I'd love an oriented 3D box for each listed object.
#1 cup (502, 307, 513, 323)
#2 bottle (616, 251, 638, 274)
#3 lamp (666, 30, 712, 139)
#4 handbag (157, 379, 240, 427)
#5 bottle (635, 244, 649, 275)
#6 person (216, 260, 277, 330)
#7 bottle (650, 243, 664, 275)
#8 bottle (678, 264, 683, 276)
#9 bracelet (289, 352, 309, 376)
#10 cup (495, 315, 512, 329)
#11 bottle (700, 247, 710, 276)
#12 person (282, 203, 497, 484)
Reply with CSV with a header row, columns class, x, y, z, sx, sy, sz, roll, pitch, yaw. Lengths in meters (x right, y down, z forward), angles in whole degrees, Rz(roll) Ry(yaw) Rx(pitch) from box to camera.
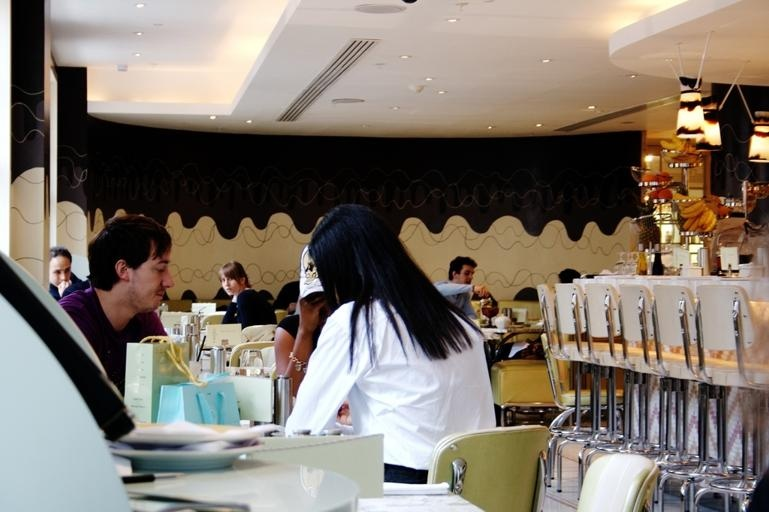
class,x,y,z,sx,sy,sz,roll,pitch,yaw
cup,1.300,0.632,7.338,0.145,0.186,0.154,0,5,0
bottle,2.098,0.059,5.913,0.192,0.245,0.188,2,-7,0
lamp,2.480,-1.302,5.581,0.269,0.779,0.875,-2,-2,23
handbag,-0.410,0.321,1.506,0.117,0.074,0.056,14,-26,-43
bottle,2.021,0.020,5.464,0.071,0.246,0.255,-2,-2,17
person,-1.507,0.405,7.482,0.371,0.248,0.727,12,31,-23
bottle,1.998,0.026,5.094,0.089,0.236,0.382,-2,-2,22
bottle,2.107,0.092,4.932,0.026,0.072,0.314,-2,-2,23
bracelet,-0.333,0.424,2.711,0.054,0.095,0.080,-41,-26,9
cup,1.170,0.652,6.856,0.119,0.113,0.121,-1,1,0
bottle,2.251,0.034,4.887,0.071,0.197,0.301,-2,-2,25
person,0.008,0.240,1.994,0.637,0.785,0.257,0,-2,-28
